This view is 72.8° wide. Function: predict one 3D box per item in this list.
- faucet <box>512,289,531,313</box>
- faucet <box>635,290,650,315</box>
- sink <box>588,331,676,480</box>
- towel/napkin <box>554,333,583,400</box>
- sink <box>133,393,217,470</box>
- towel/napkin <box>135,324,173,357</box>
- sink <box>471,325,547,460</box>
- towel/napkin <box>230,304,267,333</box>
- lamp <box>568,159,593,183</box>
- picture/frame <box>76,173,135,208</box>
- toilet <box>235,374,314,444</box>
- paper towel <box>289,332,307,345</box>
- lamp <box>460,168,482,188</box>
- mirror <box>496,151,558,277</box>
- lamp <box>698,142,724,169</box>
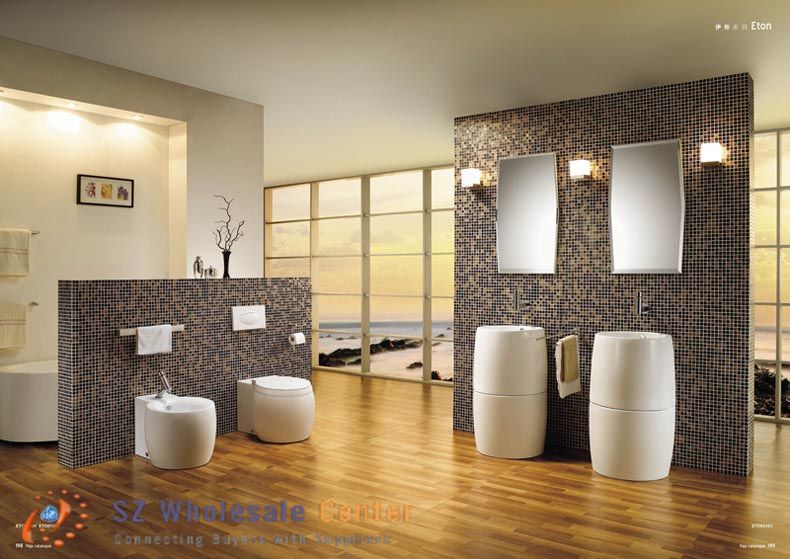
[{"bbox_3d":[1.268,0.229,5.372,0.167,0.206,0.055,-22,-5,29],"label":"faucet"},{"bbox_3d":[2.243,0.225,4.835,0.111,0.212,0.045,2,3,17],"label":"faucet"},{"bbox_3d":[1.966,1.061,4.451,0.647,1.174,0.259,2,3,20],"label":"sink"},{"bbox_3d":[1.588,0.793,4.876,0.111,0.531,0.327,3,4,42],"label":"towel/napkin"},{"bbox_3d":[-1.900,1.318,4.692,0.639,0.422,0.520,1,1,41],"label":"sink"},{"bbox_3d":[-2.190,0.553,4.838,0.112,0.267,0.349,2,2,43],"label":"towel/napkin"},{"bbox_3d":[1.057,1.039,4.916,0.653,1.164,0.277,1,3,10],"label":"sink"},{"bbox_3d":[-1.542,0.409,5.575,0.352,0.224,0.059,0,1,-44],"label":"towel/napkin"},{"bbox_3d":[1.729,-1.005,5.011,0.228,0.198,0.207,3,10,16],"label":"lamp"},{"bbox_3d":[-3.044,-0.917,5.574,0.462,0.252,0.047,1,-3,-45],"label":"picture/frame"},{"bbox_3d":[-1.162,1.306,5.442,0.795,0.503,0.597,0,0,39],"label":"toilet"},{"bbox_3d":[-1.079,0.673,5.986,0.139,0.121,0.190,7,5,35],"label":"paper towel"},{"bbox_3d":[0.792,-1.044,5.565,0.231,0.199,0.169,1,2,12],"label":"lamp"},{"bbox_3d":[1.316,-0.644,5.329,0.591,1.162,0.081,2,3,26],"label":"mirror"},{"bbox_3d":[2.646,-1.033,4.499,0.211,0.195,0.208,-4,13,23],"label":"lamp"}]
